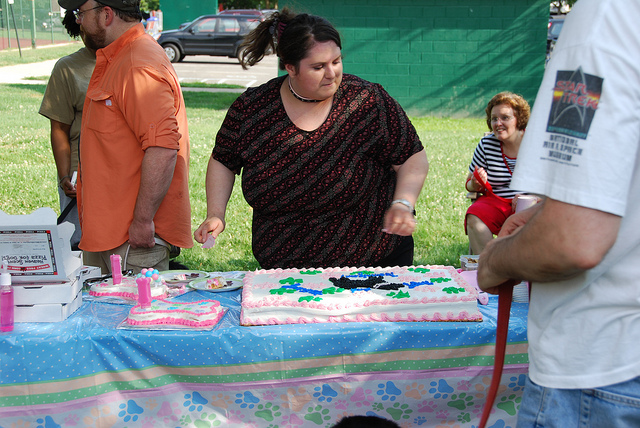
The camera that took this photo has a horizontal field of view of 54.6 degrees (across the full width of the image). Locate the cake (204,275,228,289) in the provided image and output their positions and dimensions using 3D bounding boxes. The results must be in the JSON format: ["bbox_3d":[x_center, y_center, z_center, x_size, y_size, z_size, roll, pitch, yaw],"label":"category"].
[{"bbox_3d":[-0.564,0.365,3.368,0.065,0.029,0.070,-9,12,-27],"label":"cake"}]

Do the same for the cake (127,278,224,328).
[{"bbox_3d":[-0.693,0.383,2.982,0.325,0.138,0.258,4,7,-5],"label":"cake"}]

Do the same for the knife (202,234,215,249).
[{"bbox_3d":[-0.587,0.141,3.286,0.049,0.067,0.018,43,-4,18],"label":"knife"}]

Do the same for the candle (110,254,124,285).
[{"bbox_3d":[-1.100,0.276,3.367,0.051,0.143,0.172,-5,18,-20],"label":"candle"}]

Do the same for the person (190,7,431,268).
[{"bbox_3d":[-0.019,-0.385,3.445,1.269,1.421,0.630,2,16,1],"label":"person"}]

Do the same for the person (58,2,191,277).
[{"bbox_3d":[-1.132,-0.440,3.749,0.677,1.598,0.479,-4,17,-19],"label":"person"}]

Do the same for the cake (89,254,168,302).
[{"bbox_3d":[-1.042,0.329,3.451,0.439,0.232,0.481,0,1,19],"label":"cake"}]

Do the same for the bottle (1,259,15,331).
[{"bbox_3d":[-1.451,0.375,2.881,0.055,0.286,0.126,-4,17,-16],"label":"bottle"}]

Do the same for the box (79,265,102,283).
[{"bbox_3d":[-1.239,0.321,3.356,0.110,0.052,0.120,0,3,-18],"label":"box"}]

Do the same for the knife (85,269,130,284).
[{"bbox_3d":[-1.164,0.340,3.404,0.245,0.014,0.037,-14,44,-32],"label":"knife"}]
